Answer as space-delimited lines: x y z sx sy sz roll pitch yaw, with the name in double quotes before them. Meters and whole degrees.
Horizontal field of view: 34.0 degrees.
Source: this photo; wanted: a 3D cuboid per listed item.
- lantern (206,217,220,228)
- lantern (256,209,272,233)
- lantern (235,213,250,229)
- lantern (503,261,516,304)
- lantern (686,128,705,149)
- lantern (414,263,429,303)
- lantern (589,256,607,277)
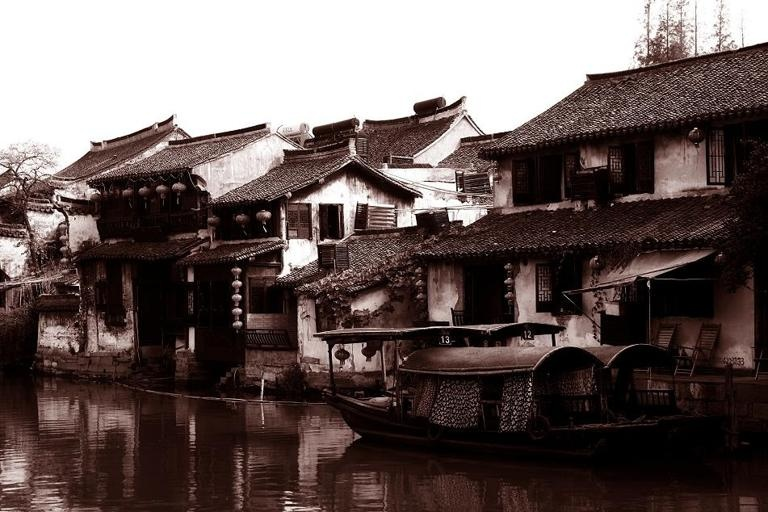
"lantern" -6.415 -1.293 47.333 0.401 0.508 0.605 -6 9 -30
"lantern" -4.372 -1.281 45.404 0.505 0.856 0.912 -8 10 -38
"lantern" -5.158 -1.333 46.176 0.531 0.526 0.533 -29 37 -36
"lantern" 3.900 0.776 39.091 0.325 1.306 0.729 -1 8 5
"lantern" 9.146 -3.519 37.209 0.511 0.552 0.515 0 -2 -13
"lantern" 1.136 0.880 41.557 0.351 1.190 0.548 -6 9 -26
"lantern" 6.243 0.277 37.027 0.455 0.536 0.280 3 -9 -25
